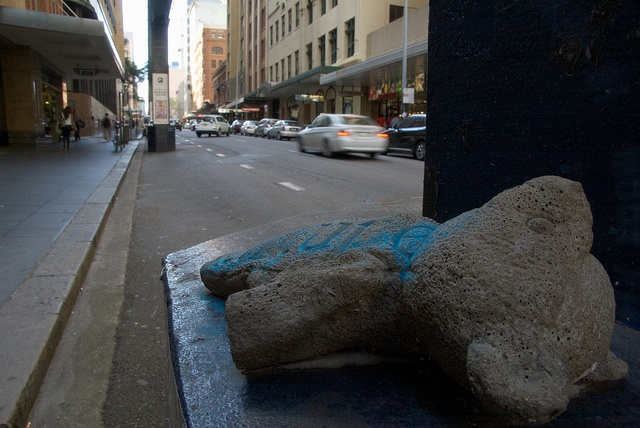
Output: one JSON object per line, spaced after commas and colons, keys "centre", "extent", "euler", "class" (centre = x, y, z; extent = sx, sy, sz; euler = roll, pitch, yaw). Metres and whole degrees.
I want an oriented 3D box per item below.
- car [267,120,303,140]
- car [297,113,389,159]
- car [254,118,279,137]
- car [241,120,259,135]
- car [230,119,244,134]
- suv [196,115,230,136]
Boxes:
{"centre": [-2.412, -5.874, 33.758], "extent": [1.197, 1.306, 3.906], "euler": [-4, 15, -23], "class": "car"}
{"centre": [0.804, -3.061, 18.895], "extent": [1.831, 1.690, 3.785], "euler": [-8, 17, -37], "class": "car"}
{"centre": [-4.462, -7.010, 38.780], "extent": [1.097, 1.058, 2.916], "euler": [-2, 15, -10], "class": "car"}
{"centre": [-6.879, -8.178, 45.883], "extent": [1.111, 0.988, 2.883], "euler": [-3, 19, -12], "class": "car"}
{"centre": [-9.213, -9.484, 52.265], "extent": [1.124, 1.201, 2.130], "euler": [-4, 25, -12], "class": "car"}
{"centre": [-8.896, -7.226, 39.221], "extent": [1.850, 1.678, 2.808], "euler": [6, 14, 16], "class": "suv"}
